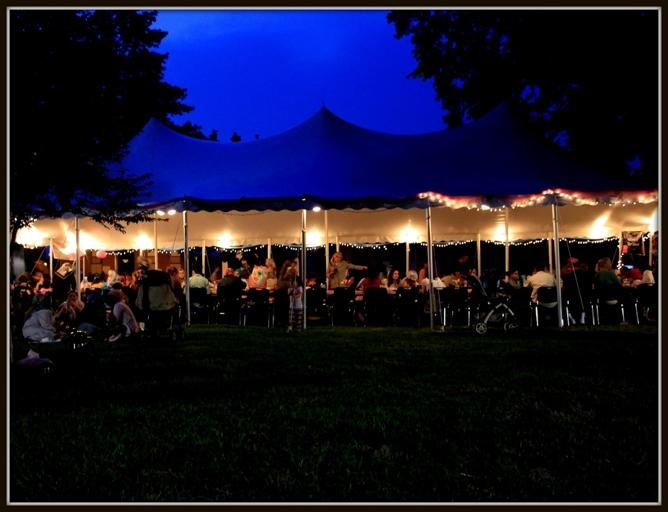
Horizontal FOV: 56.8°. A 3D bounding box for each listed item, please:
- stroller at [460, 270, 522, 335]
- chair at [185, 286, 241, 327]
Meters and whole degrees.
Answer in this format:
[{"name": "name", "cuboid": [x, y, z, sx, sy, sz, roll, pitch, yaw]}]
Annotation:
[{"name": "stroller", "cuboid": [3.234, 1.060, 12.882, 1.114, 1.395, 0.886, -2, -1, 7]}, {"name": "chair", "cuboid": [-2.623, 1.151, 13.953, 1.449, 0.898, 1.069, -2, -4, 9]}]
